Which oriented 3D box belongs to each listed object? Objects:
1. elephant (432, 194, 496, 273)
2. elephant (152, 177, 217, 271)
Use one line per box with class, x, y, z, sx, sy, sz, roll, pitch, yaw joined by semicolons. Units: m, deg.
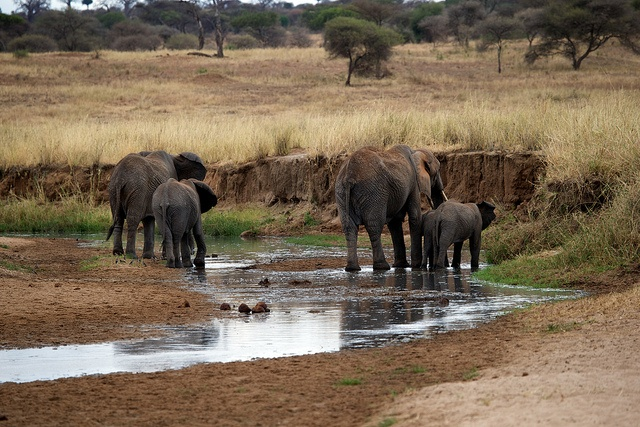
elephant;3.861;0.507;25.356;2.396;1.777;1.264;1;1;-40
elephant;-3.532;0.138;25.890;1.411;2.296;2.065;4;12;26
